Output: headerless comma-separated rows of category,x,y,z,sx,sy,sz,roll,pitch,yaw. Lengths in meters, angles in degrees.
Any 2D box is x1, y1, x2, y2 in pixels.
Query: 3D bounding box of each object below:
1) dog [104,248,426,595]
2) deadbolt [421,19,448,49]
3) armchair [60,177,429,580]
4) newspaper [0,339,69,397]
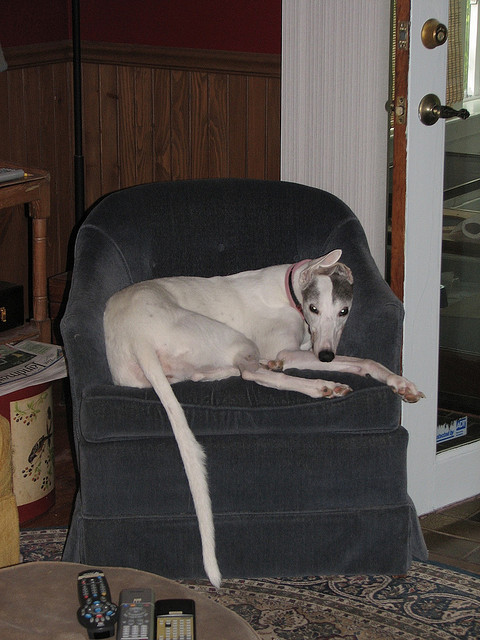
dog,-0.017,0.054,2.093,0.801,0.417,1.233,-4,29,-17
deadbolt,0.629,-0.944,2.110,0.077,0.079,0.028,-40,30,-20
armchair,-0.017,0.220,2.414,1.319,1.537,1.285,-1,15,-3
newspaper,-0.781,0.182,2.450,0.235,0.030,0.256,3,18,16
